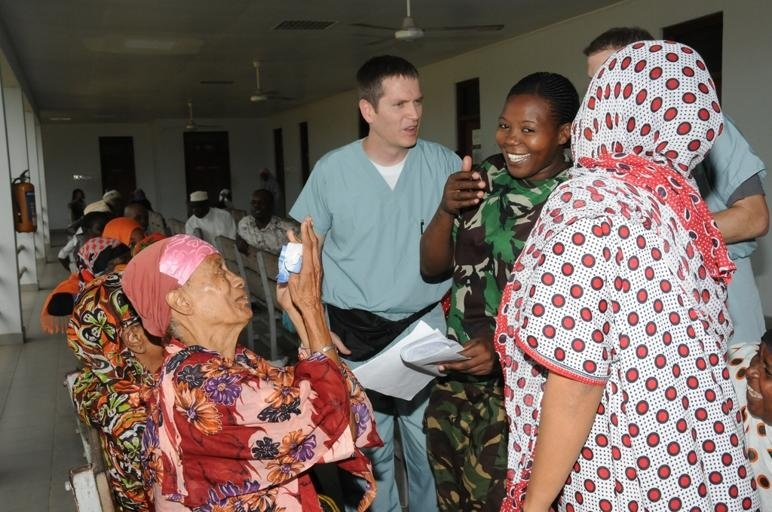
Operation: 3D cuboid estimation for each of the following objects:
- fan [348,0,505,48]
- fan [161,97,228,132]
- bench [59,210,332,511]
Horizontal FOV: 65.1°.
[{"bbox_3d":[0.514,-2.833,7.466,1.317,0.581,1.318,-1,11,-13],"label":"fan"},{"bbox_3d":[-5.599,-4.090,17.270,1.869,0.833,1.401,0,0,5],"label":"fan"},{"bbox_3d":[-0.834,0.455,2.347,1.406,1.203,0.487,5,7,41],"label":"bench"}]
